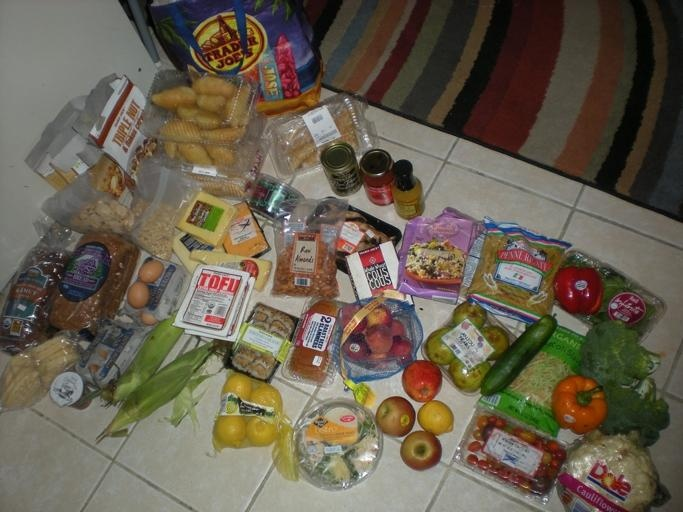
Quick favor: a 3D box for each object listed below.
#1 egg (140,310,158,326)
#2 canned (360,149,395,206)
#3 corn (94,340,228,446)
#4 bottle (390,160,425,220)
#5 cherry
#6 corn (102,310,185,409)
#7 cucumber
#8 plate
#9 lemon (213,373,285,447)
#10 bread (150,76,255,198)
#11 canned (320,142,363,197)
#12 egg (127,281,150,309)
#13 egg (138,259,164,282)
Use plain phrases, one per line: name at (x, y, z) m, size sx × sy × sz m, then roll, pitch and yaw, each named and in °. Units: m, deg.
egg at (-0.743, 0.241, 1.854) m, size 0.058 × 0.044 × 0.045 m, roll 41°, pitch 27°, yaw -6°
canned at (0.143, -0.312, 1.867) m, size 0.112 × 0.107 × 0.219 m, roll 26°, pitch -22°, yaw 18°
corn at (-0.696, 0.543, 1.871) m, size 0.111 × 0.175 × 0.527 m, roll 19°, pitch 31°, yaw 28°
bottle at (0.242, -0.237, 1.796) m, size 0.095 × 0.094 × 0.229 m, roll 48°, pitch -4°, yaw 20°
cherry at (0.594, 0.687, 1.700) m, size 0.311 × 0.241 × 0.084 m, roll 19°, pitch 1°, yaw 11°
corn at (-0.725, 0.437, 1.880) m, size 0.222 × 0.348 × 0.262 m, roll 5°, pitch 41°, yaw 9°
cucumber at (0.624, 0.361, 1.689) m, size 0.103 × 0.396 × 0.104 m, roll 30°, pitch 14°, yaw -39°
plate at (-0.019, 0.676, 1.741) m, size 0.316 × 0.283 × 0.101 m, roll 16°, pitch 5°, yaw -1°
lemon at (-0.335, 0.571, 1.782) m, size 0.240 × 0.264 × 0.108 m, roll 2°, pitch -11°, yaw -6°
bread at (-0.519, -0.505, 2.014) m, size 0.317 × 0.261 × 0.505 m, roll 7°, pitch -39°, yaw 13°
canned at (0.001, -0.336, 1.901) m, size 0.136 × 0.114 × 0.215 m, roll -13°, pitch -32°, yaw -1°
egg at (-0.771, 0.147, 1.869) m, size 0.070 × 0.103 × 0.074 m, roll 6°, pitch -2°, yaw 5°
egg at (-0.747, 0.058, 1.891) m, size 0.069 × 0.072 × 0.094 m, roll 34°, pitch 51°, yaw 14°
